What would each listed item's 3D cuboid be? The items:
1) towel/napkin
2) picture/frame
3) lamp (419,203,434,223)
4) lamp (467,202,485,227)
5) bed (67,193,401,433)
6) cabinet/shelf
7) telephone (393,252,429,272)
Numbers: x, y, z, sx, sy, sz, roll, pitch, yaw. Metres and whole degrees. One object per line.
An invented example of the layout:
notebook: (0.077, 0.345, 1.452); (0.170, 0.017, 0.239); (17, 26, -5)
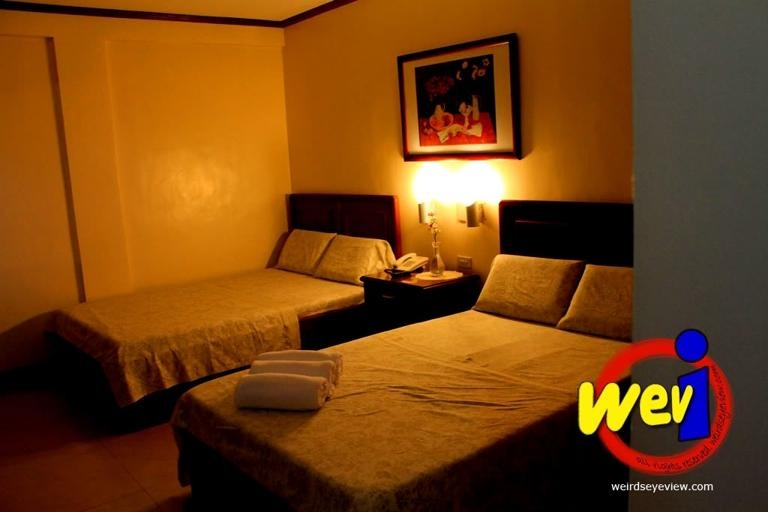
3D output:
towel/napkin: (-0.513, 0.666, 3.092); (0.502, 0.203, 0.439); (2, 15, 8)
picture/frame: (0.651, -1.313, 4.590); (0.055, 0.851, 1.181); (-12, 12, -42)
lamp: (0.361, -0.370, 4.834); (0.158, 0.179, 0.159); (1, 3, -13)
lamp: (0.735, -0.333, 4.548); (0.184, 0.208, 0.185); (-1, 0, -13)
bed: (-1.217, 0.440, 4.959); (2.380, 1.327, 1.903); (-9, 14, -38)
cabinet/shelf: (0.310, 0.319, 4.790); (0.555, 0.740, 0.754); (-11, 17, -40)
telephone: (0.243, 0.027, 4.940); (0.160, 0.073, 0.209); (9, 23, 39)
